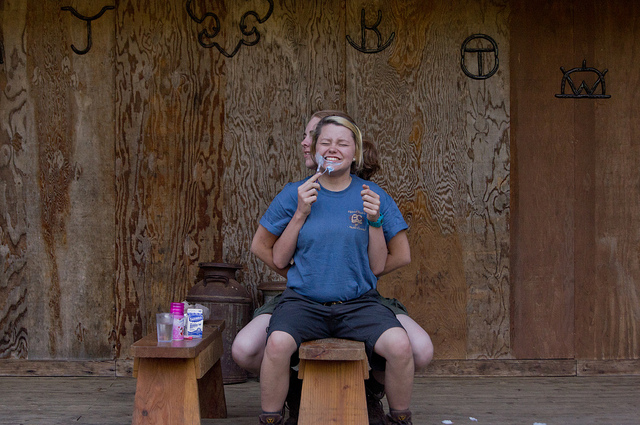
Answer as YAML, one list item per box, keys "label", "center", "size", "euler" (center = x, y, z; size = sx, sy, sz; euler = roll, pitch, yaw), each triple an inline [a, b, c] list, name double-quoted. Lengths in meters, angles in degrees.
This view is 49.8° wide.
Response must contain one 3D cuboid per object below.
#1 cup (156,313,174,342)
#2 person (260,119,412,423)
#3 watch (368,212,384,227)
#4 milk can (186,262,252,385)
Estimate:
- label: "cup"
  center: [-1.118, 0.824, 4.988]
  size: [0.119, 0.194, 0.166]
  euler: [-1, 6, -13]
- label: "person"
  center: [0.091, 0.394, 5.041]
  size: [1.044, 2.131, 0.685]
  euler: [0, 6, -5]
- label: "watch"
  center: [0.419, 0.072, 5.109]
  size: [0.112, 0.078, 0.102]
  euler: [-13, 8, 30]
- label: "milk can"
  center: [-0.938, 1.005, 6.527]
  size: [0.555, 0.889, 0.536]
  euler: [0, -12, 0]
